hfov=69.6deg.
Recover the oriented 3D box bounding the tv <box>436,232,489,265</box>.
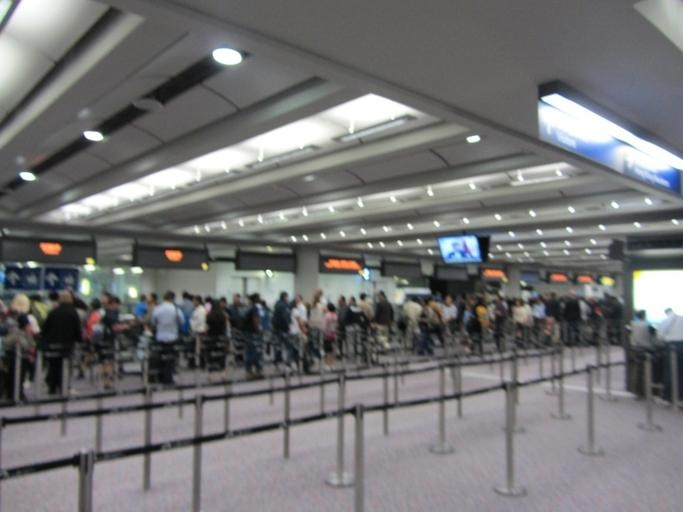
[{"bbox_3d":[4.348,-0.315,16.782,1.075,0.983,1.758,2,-4,-41],"label":"tv"}]

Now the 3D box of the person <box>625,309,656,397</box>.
[{"bbox_3d":[6.611,2.051,10.701,0.357,1.644,0.522,-2,-4,-21],"label":"person"}]

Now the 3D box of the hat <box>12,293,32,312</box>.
[{"bbox_3d":[-6.605,0.975,10.149,0.297,0.391,0.873,2,-4,-33],"label":"hat"}]
